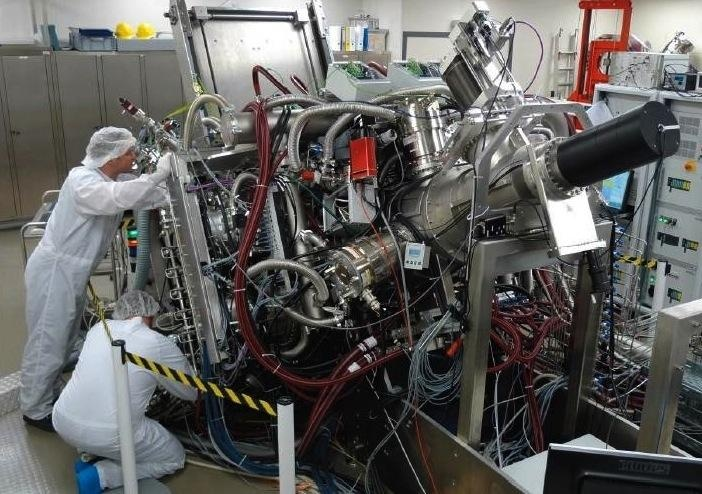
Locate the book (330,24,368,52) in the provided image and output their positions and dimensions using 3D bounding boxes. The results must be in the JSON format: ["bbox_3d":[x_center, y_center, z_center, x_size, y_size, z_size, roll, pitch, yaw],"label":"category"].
[{"bbox_3d":[-0.026,-3.684,8.805,0.708,0.476,0.347,-3,14,-4],"label":"book"}]

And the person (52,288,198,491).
[{"bbox_3d":[-1.434,0.947,3.188,0.815,1.219,0.845,12,19,27],"label":"person"}]

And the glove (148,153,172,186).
[{"bbox_3d":[-1.232,-0.500,3.227,0.091,0.217,0.315,-11,17,-34],"label":"glove"}]

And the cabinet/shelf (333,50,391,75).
[{"bbox_3d":[0.216,-3.398,8.945,1.164,0.226,0.227,-10,16,-28],"label":"cabinet/shelf"}]
